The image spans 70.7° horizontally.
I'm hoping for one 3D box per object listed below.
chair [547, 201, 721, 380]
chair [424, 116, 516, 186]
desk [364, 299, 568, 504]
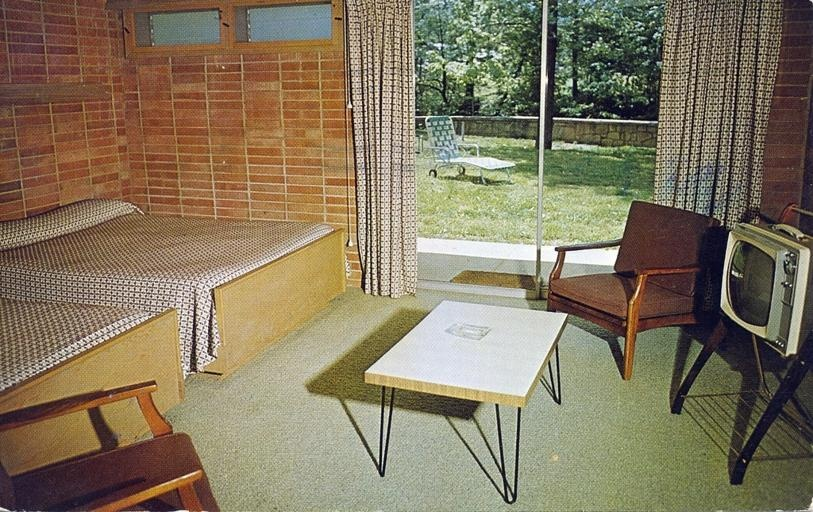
[{"bbox_3d":[1.894,0.193,4.856,1.114,1.112,0.992,-9,16,-23],"label":"chair"},{"bbox_3d":[1.029,-1.998,10.787,1.533,1.006,0.953,21,31,33],"label":"chair"},{"bbox_3d":[0.440,0.893,3.927,0.974,0.705,1.173,10,22,22],"label":"desk"}]
